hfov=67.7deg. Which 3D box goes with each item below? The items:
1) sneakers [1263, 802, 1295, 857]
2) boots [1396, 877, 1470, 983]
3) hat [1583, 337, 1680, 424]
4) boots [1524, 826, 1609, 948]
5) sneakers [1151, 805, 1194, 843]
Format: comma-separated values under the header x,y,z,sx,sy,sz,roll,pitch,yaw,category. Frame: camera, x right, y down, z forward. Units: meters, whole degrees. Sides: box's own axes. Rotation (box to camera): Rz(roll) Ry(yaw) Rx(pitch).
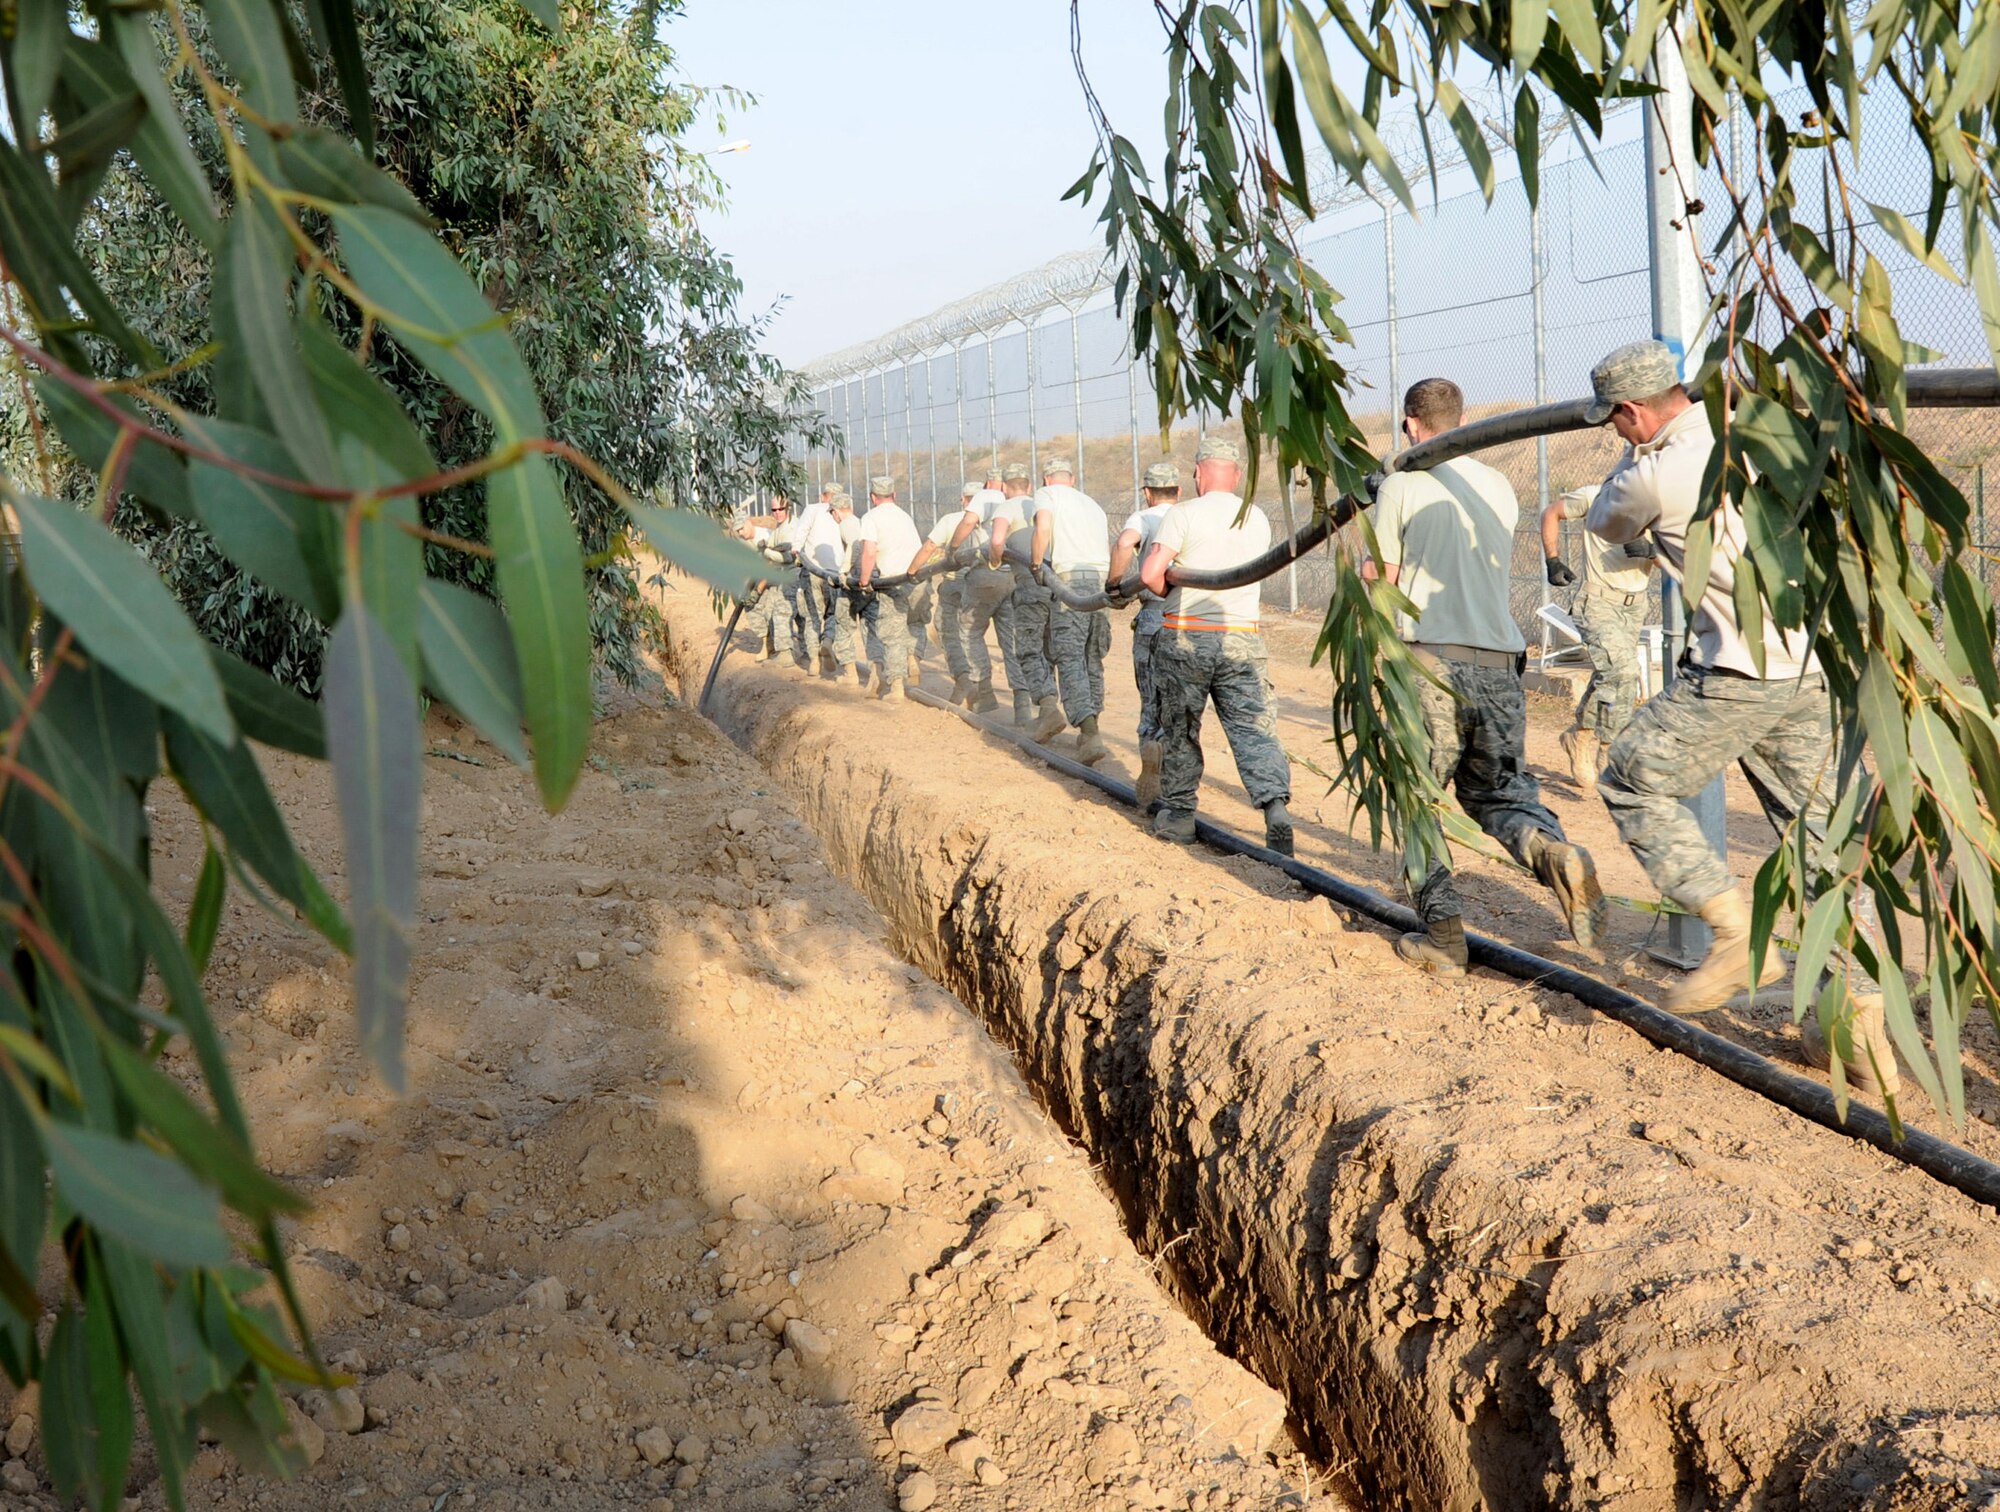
x,y,z,sx,sy,sz,roll,pitch,yaw,category
1.401,0.374,7.559,0.071,0.257,0.161,-5,-8,-17,sneakers
1.589,0.589,5.541,0.164,0.408,0.374,-6,4,-17,boots
1.929,-1.156,4.567,0.271,0.162,0.215,-24,32,31,hat
2.190,0.535,5.835,0.123,0.426,0.272,-18,-3,-17,boots
0.921,0.352,7.893,0.137,0.115,0.195,-6,-4,-19,sneakers
